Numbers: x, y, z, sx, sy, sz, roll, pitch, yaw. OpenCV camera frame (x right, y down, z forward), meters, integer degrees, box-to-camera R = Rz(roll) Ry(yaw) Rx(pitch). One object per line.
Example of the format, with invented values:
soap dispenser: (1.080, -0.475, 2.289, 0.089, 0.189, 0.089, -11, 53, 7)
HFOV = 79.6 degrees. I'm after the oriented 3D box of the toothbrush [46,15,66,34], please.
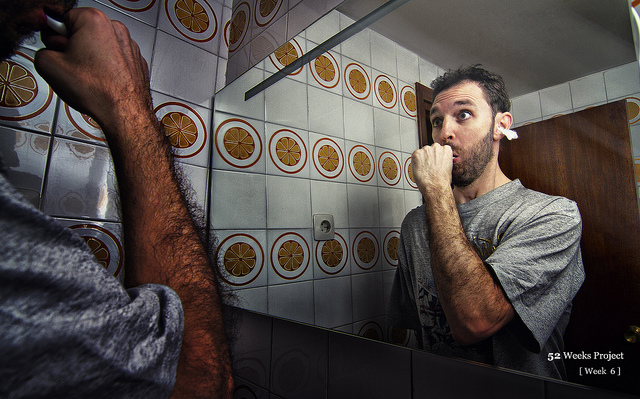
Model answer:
toothbrush: (-0.481, -0.317, 0.699, 0.045, 0.014, 0.010, 31, 20, 27)
